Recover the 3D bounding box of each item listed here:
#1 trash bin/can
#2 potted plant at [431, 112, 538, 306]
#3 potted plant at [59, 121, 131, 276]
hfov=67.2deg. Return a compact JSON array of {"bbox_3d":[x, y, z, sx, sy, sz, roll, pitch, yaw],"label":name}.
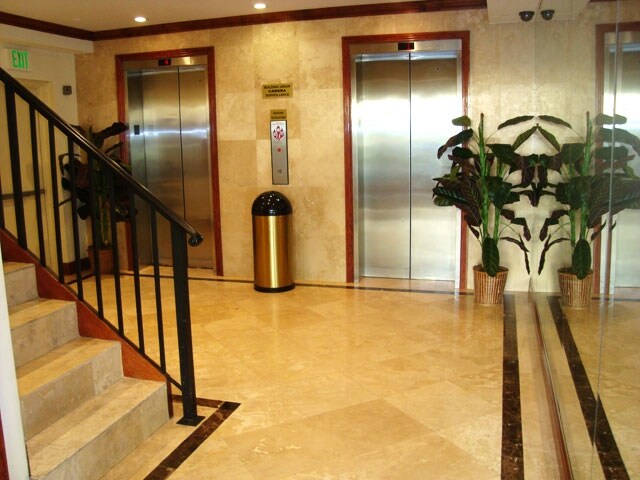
[{"bbox_3d":[-0.584,0.041,6.187,0.508,1.259,0.278,-3,12,-6],"label":"trash bin/can"},{"bbox_3d":[1.922,-0.390,5.697,1.082,2.153,0.927,4,14,24],"label":"potted plant"},{"bbox_3d":[-3.234,-0.621,7.126,1.067,1.996,1.171,-1,-13,-10],"label":"potted plant"}]
